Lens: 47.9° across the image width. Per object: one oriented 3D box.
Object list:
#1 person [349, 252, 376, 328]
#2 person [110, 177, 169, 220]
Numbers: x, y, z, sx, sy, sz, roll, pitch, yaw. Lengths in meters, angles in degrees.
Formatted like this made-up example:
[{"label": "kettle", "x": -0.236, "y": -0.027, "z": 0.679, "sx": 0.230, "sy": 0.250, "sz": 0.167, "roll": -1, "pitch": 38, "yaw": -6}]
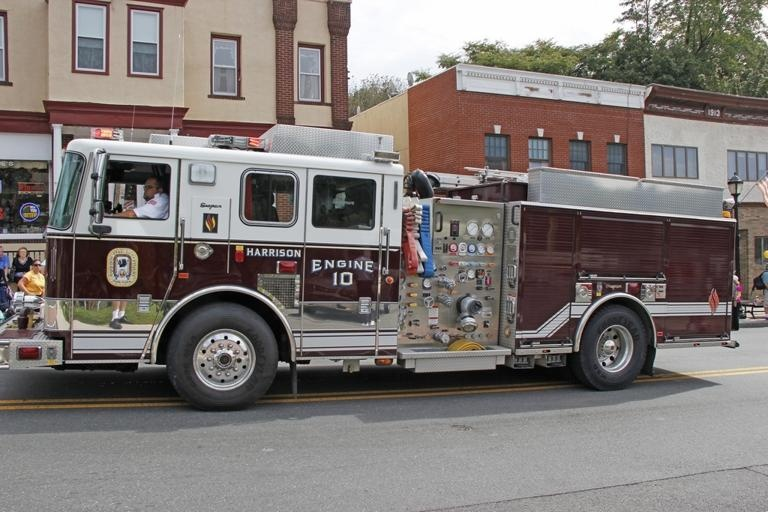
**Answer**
[{"label": "person", "x": -0.260, "y": 0.588, "z": 15.016, "sx": 0.461, "sy": 1.427, "sz": 0.461, "roll": 1, "pitch": -6, "yaw": 23}, {"label": "person", "x": -4.050, "y": -0.940, "z": 14.426, "sx": 0.869, "sy": 0.667, "sz": 0.662, "roll": 8, "pitch": -9, "yaw": -26}]
